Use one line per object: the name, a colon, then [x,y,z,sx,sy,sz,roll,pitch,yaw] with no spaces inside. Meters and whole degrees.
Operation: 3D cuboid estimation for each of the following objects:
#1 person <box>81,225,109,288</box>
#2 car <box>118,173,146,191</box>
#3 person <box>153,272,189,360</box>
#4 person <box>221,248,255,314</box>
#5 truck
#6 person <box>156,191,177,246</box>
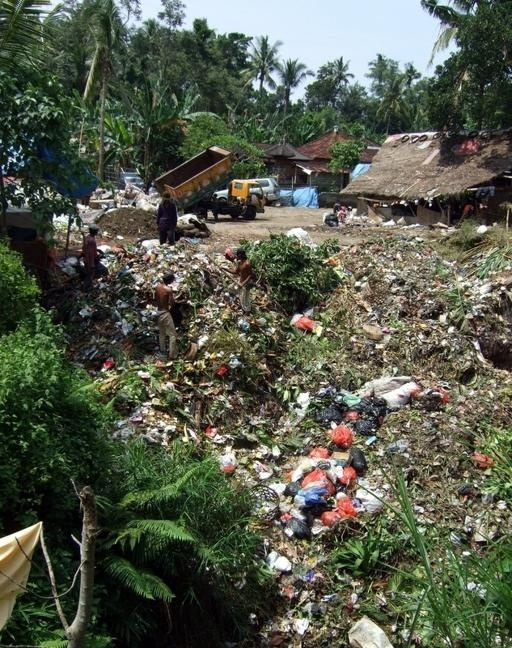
person: [-2.468,-1.051,8.631,0.381,0.921,0.754,3,8,-15]
car: [-5.081,-5.860,22.817,0.901,0.863,1.795,3,8,-16]
person: [-1.180,-0.089,7.460,0.340,1.164,0.339,4,8,-7]
person: [-0.288,-0.723,9.054,0.514,0.939,1.246,5,8,-1]
truck: [-1.364,-4.213,17.324,3.444,1.832,1.503,-17,25,-41]
person: [-1.584,-1.859,9.932,0.319,0.894,0.797,4,8,-11]
